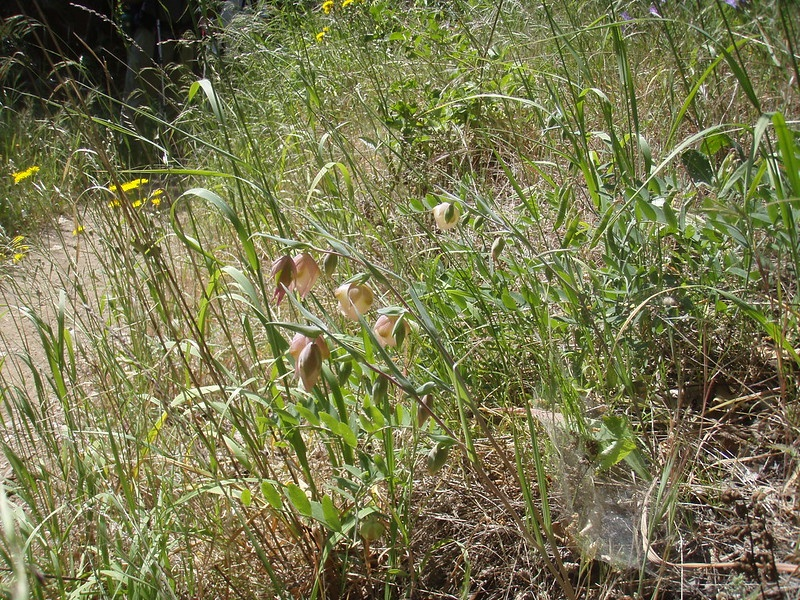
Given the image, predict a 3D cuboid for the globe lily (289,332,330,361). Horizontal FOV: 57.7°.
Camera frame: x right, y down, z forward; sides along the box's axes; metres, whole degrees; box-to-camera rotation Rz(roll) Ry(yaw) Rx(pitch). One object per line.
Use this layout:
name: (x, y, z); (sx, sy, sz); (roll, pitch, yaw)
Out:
globe lily: (-0.201, 0.101, 1.595); (0.057, 0.074, 0.030); (9, -4, -7)

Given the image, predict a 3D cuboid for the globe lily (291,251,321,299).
globe lily: (-0.212, -0.052, 1.641); (0.069, 0.097, 0.033); (6, -10, -22)

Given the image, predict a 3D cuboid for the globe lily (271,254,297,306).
globe lily: (-0.264, -0.055, 1.643); (0.043, 0.134, 0.041); (5, -2, 23)
